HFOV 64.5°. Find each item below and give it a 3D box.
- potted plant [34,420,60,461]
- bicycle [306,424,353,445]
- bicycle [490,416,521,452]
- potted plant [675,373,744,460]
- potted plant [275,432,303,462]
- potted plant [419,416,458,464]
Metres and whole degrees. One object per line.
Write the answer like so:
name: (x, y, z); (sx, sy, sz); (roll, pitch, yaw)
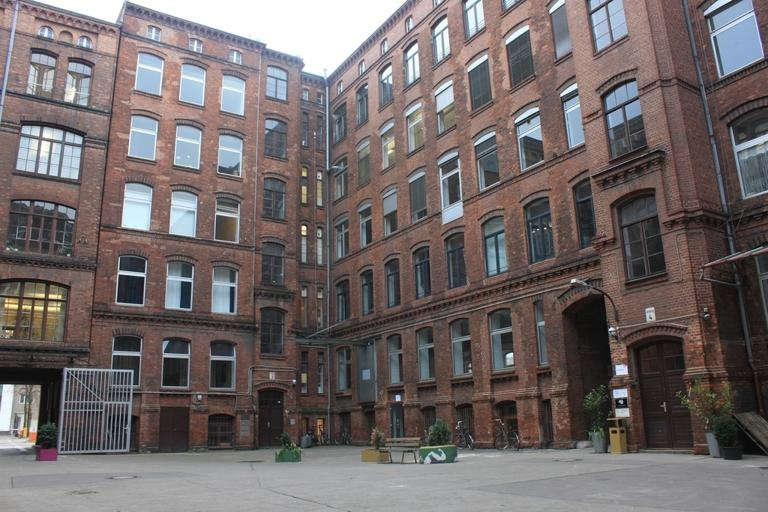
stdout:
potted plant: (-17.092, 9.490, 30.957); (1.006, 1.822, 1.421); (10, -24, -27)
bicycle: (-4.072, 13.381, 45.372); (3.114, 1.385, 1.163); (0, -21, -3)
bicycle: (6.741, 9.882, 34.125); (0.497, 1.747, 1.308); (12, -25, -31)
potted plant: (14.524, 6.909, 26.129); (2.884, 3.579, 2.982); (-5, -12, 19)
potted plant: (-4.767, 9.576, 30.380); (1.224, 1.388, 0.890); (-7, -22, 13)
potted plant: (2.410, 8.360, 27.407); (1.629, 1.912, 0.954); (9, -24, -27)
